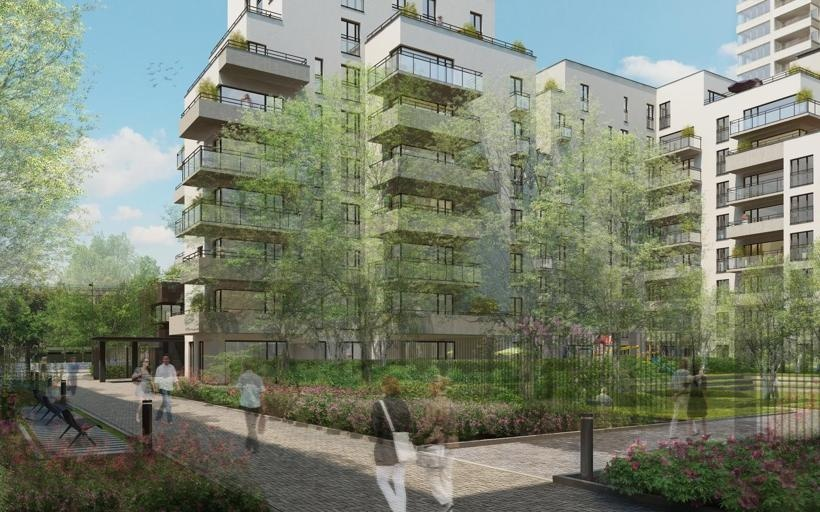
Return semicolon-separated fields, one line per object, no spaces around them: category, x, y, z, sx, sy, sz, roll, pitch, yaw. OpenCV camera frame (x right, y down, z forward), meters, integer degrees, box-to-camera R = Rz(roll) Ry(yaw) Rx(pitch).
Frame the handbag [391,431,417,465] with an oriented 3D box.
handbag;-0.113;6.187;25.737;0.778;0.990;0.287;1;-11;-3

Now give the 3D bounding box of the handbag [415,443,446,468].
handbag;0.761;6.630;26.428;0.944;0.223;0.868;1;-2;-28
